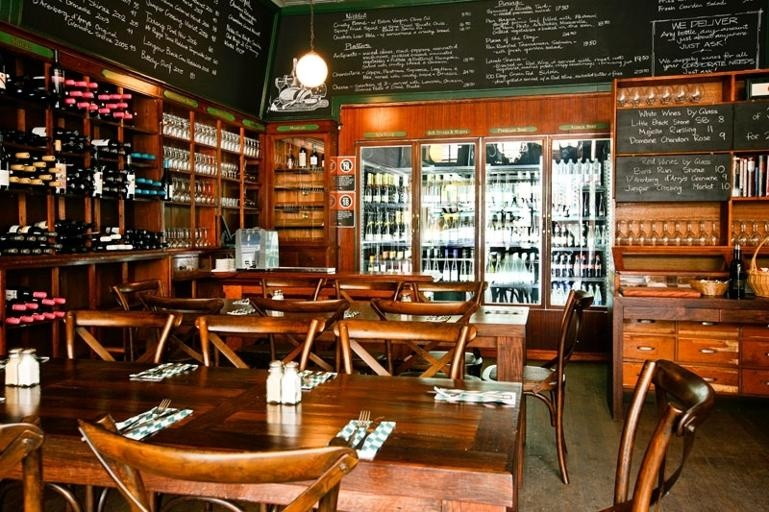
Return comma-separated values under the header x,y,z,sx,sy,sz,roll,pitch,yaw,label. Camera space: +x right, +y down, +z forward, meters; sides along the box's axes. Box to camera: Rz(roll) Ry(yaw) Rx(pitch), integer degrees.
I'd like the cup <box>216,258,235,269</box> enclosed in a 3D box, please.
x,y,z,sx,sy,sz,roll,pitch,yaw,label
-1.611,0.066,5.857,0.129,0.072,0.125,1,6,0,cup

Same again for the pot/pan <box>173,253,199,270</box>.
x,y,z,sx,sy,sz,roll,pitch,yaw,label
-2.001,0.065,5.850,0.160,0.088,0.209,1,1,12,pot/pan

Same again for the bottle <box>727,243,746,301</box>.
x,y,z,sx,sy,sz,roll,pitch,yaw,label
2.761,0.122,4.530,0.115,0.373,0.381,4,10,29,bottle

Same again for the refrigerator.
x,y,z,sx,sy,sz,roll,pitch,yaw,label
1.245,-0.442,6.465,2.317,1.404,0.702,0,-3,10,refrigerator

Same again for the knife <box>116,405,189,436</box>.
x,y,z,sx,sy,sz,roll,pitch,yaw,label
-0.849,0.616,2.142,0.108,0.024,0.181,5,4,19,knife
